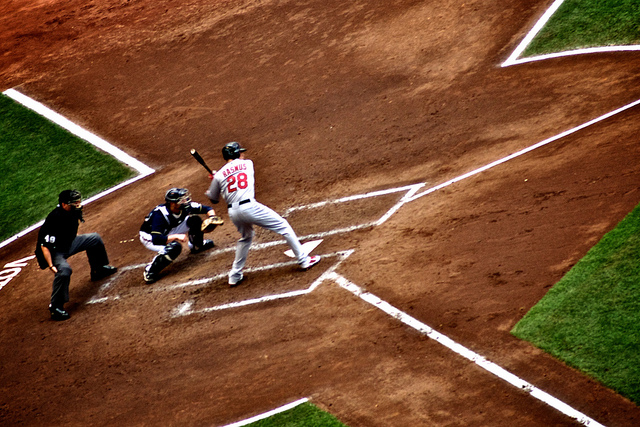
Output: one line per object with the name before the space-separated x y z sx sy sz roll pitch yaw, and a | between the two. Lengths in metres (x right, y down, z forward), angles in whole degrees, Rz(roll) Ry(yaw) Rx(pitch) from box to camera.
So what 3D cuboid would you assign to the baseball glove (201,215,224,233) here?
baseball glove | -2.227 0.205 15.664 0.464 0.361 0.147 -24 60 39
